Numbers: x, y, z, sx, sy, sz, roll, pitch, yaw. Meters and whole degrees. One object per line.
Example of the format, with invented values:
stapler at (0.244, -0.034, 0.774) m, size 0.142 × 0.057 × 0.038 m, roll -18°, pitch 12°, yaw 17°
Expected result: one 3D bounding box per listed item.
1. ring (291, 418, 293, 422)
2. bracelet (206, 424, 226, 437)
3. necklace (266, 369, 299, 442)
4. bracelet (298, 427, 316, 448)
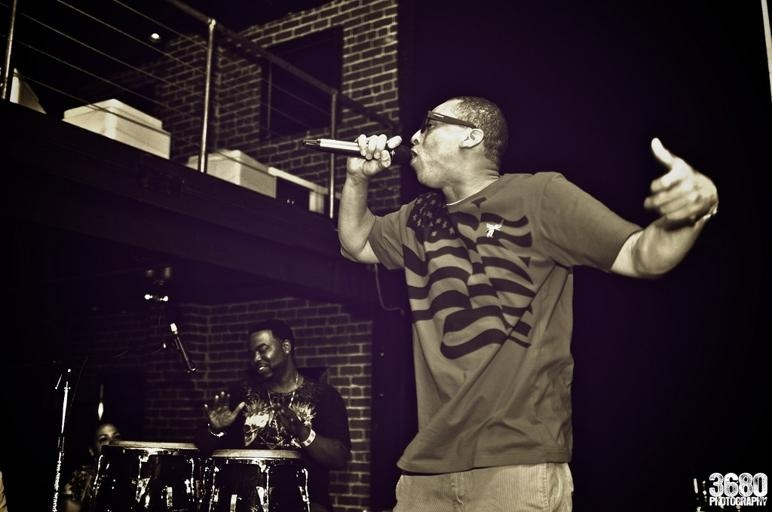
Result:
ring at (-0.763, 1.332, 7.271) m, size 0.021 × 0.022 × 0.005 m, roll -1°, pitch -3°, yaw 9°
bracelet at (-1.439, 1.467, 7.607) m, size 0.123 × 0.095 × 0.123 m, roll 0°, pitch -8°, yaw 35°
necklace at (-0.861, 1.320, 7.482) m, size 0.204 × 0.413 × 0.490 m, roll 4°, pitch -14°, yaw -12°
bracelet at (-0.641, 1.482, 7.284) m, size 0.050 × 0.127 × 0.125 m, roll 33°, pitch -53°, yaw -15°
